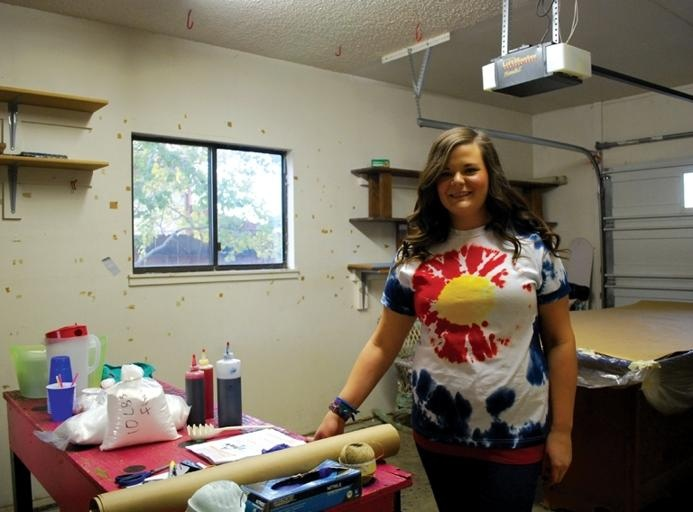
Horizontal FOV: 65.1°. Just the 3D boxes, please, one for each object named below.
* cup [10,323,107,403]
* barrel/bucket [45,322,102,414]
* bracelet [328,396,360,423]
[{"bbox_3d":[-1.418,0.540,2.824,0.325,0.346,0.477,-8,-5,40],"label":"cup"},{"bbox_3d":[-1.370,0.541,2.732,0.190,0.356,0.273,-13,-12,36],"label":"barrel/bucket"},{"bbox_3d":[-0.006,0.622,2.109,0.125,0.074,0.095,36,1,-9],"label":"bracelet"}]
